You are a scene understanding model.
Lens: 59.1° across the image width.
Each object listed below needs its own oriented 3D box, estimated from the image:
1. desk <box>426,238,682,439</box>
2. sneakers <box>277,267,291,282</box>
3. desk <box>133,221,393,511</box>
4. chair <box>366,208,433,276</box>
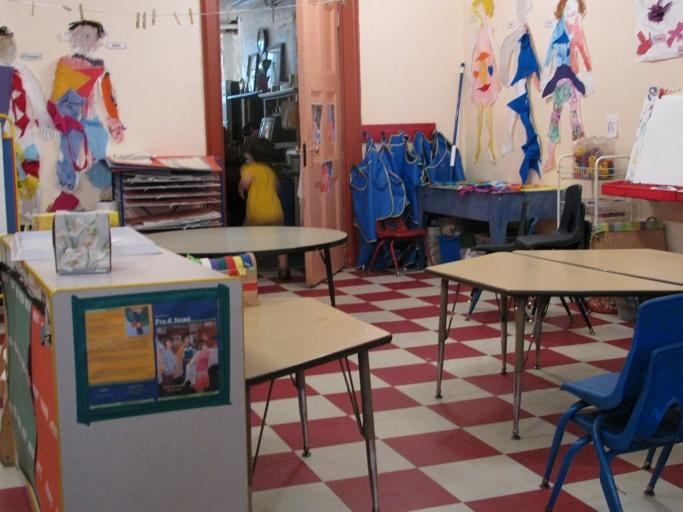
[{"bbox_3d":[1.081,0.158,3.285,1.074,0.589,1.175,-8,16,-27],"label":"desk"},{"bbox_3d":[-0.631,0.208,6.629,0.140,0.175,0.431,0,0,-2],"label":"sneakers"},{"bbox_3d":[-0.314,0.494,2.633,0.693,0.619,1.214,-5,12,-27],"label":"desk"},{"bbox_3d":[0.567,-0.156,6.959,0.600,1.008,0.686,-5,5,-38],"label":"chair"}]
